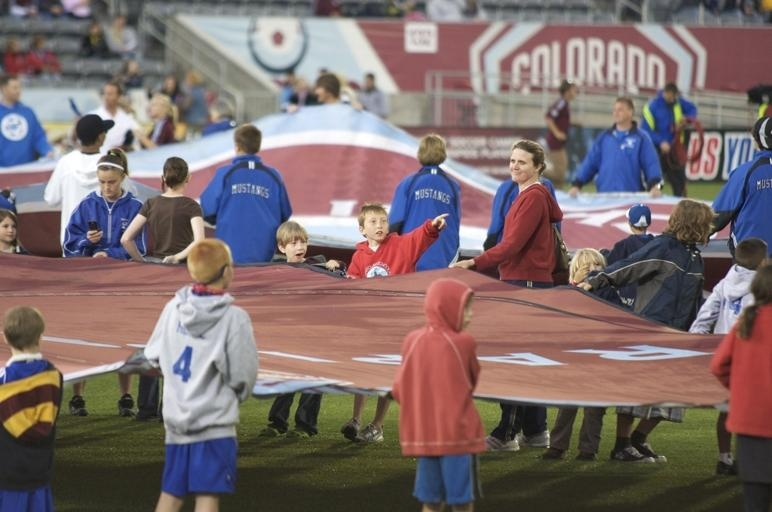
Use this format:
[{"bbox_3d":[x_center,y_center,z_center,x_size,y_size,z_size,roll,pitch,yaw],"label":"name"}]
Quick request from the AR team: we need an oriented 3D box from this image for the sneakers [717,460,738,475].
[{"bbox_3d":[3.706,2.297,21.385,0.285,0.123,0.104,0,-4,-15],"label":"sneakers"}]

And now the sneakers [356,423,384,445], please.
[{"bbox_3d":[-0.205,1.958,21.848,0.144,0.138,0.341,-1,-10,36],"label":"sneakers"}]

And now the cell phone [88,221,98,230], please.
[{"bbox_3d":[-3.270,-0.353,21.910,0.106,0.184,0.020,1,36,-2],"label":"cell phone"}]

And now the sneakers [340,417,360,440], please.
[{"bbox_3d":[-0.412,1.917,21.840,0.127,0.141,0.295,29,-16,4],"label":"sneakers"}]

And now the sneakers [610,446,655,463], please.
[{"bbox_3d":[2.681,2.173,21.693,0.477,0.180,0.173,-1,-3,2],"label":"sneakers"}]

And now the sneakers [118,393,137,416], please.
[{"bbox_3d":[-2.964,1.677,22.414,0.187,0.257,0.218,0,3,-7],"label":"sneakers"}]

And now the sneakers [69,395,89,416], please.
[{"bbox_3d":[-3.505,1.686,22.381,0.202,0.239,0.182,-1,3,-9],"label":"sneakers"}]

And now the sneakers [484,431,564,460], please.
[{"bbox_3d":[1.424,2.043,21.853,0.687,0.225,0.226,0,3,0],"label":"sneakers"}]

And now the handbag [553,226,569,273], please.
[{"bbox_3d":[1.917,-0.093,21.986,0.149,0.516,0.382,0,3,7],"label":"handbag"}]

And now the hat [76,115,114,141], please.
[{"bbox_3d":[-3.326,-1.488,22.373,0.381,0.211,0.261,-32,35,-26],"label":"hat"}]

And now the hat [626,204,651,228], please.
[{"bbox_3d":[2.773,-0.452,21.863,0.239,0.253,0.168,0,3,-1],"label":"hat"}]

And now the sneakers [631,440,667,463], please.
[{"bbox_3d":[2.859,2.141,21.621,0.479,0.194,0.158,6,-7,-6],"label":"sneakers"}]
